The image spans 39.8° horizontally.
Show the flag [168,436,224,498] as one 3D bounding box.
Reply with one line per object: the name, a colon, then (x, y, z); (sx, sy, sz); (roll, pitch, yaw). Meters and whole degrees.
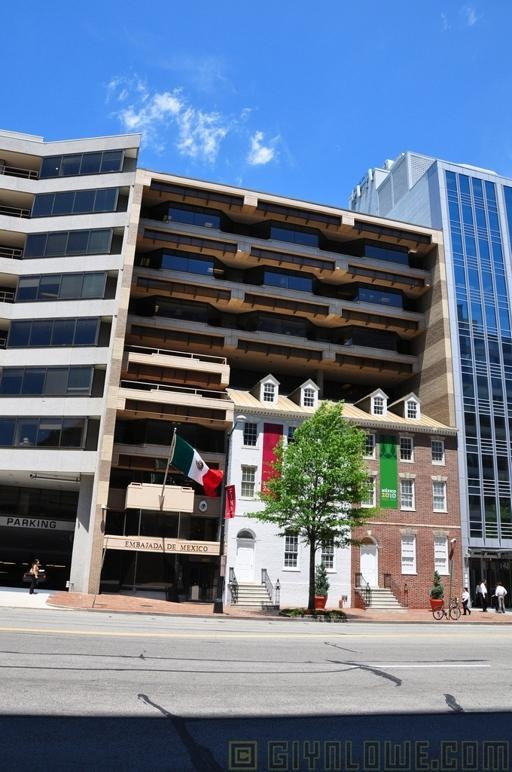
flag: (-3.286, 4.366, 37.569); (0.678, 2.780, 3.824); (-29, -57, 27)
